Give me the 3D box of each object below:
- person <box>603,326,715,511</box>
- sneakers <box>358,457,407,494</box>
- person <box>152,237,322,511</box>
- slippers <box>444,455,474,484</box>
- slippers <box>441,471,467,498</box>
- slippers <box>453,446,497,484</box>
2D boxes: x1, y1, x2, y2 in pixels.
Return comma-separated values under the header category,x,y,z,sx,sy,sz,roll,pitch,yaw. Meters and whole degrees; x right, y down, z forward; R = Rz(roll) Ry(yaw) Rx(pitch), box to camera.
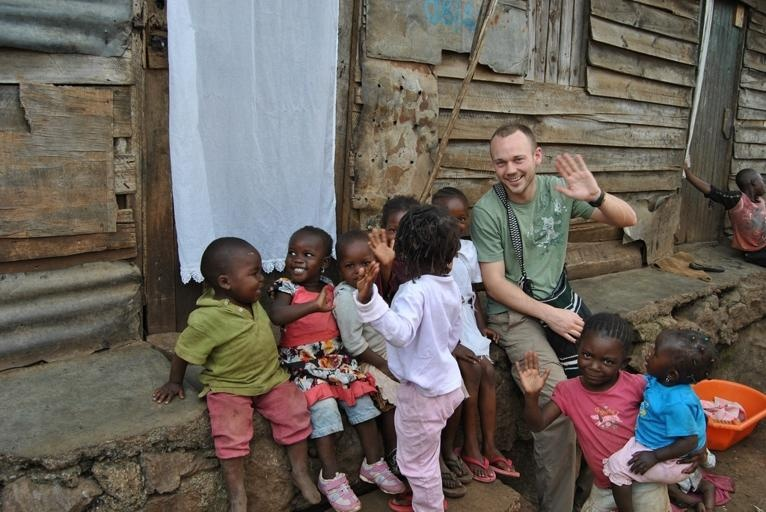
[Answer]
category,x,y,z,sx,sy,sz,roll,pitch,yaw
person,1.788,1.076,3.596,0.666,1.228,0.333,-1,9,17
sneakers,-0.004,1.482,3.793,0.369,0.181,0.145,10,6,37
person,-0.955,0.770,3.604,0.885,1.778,0.558,-7,9,-22
slippers,0.554,1.539,4.006,0.118,0.066,0.267,-9,24,-40
slippers,0.487,1.609,3.937,0.095,0.103,0.252,-8,6,-44
slippers,0.693,1.541,4.118,0.139,0.068,0.277,-1,19,-36
